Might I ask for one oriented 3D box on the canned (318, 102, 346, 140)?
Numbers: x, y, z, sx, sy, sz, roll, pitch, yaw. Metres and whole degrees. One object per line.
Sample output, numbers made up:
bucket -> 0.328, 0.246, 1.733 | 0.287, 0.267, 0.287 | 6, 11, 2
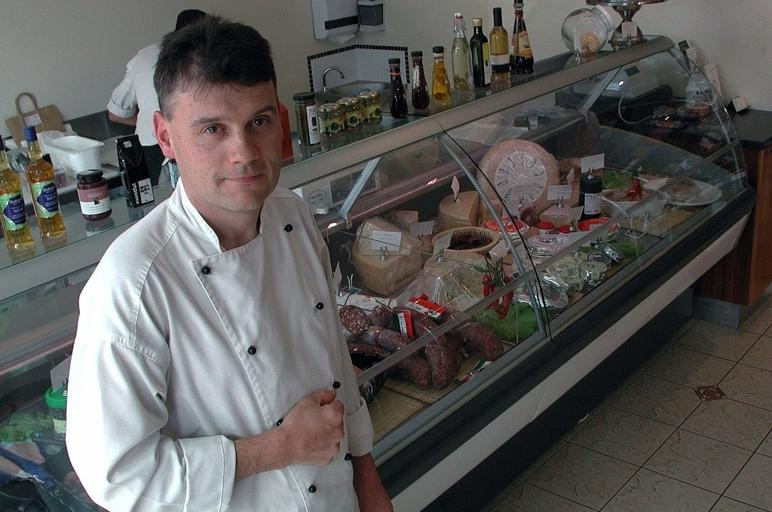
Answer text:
canned -> -0.238, -0.576, 2.179 | 0.118, 0.117, 0.115 | 2, 28, 12

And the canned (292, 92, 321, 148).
canned -> -0.316, -0.561, 2.116 | 0.120, 0.197, 0.115 | -3, 19, 8

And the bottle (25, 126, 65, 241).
bottle -> -1.093, -0.219, 1.616 | 0.088, 0.357, 0.138 | -16, 29, -33

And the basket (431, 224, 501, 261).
basket -> 0.319, -0.110, 2.275 | 0.343, 0.127, 0.264 | -15, 22, -31

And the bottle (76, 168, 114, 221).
bottle -> -0.970, -0.205, 1.732 | 0.105, 0.169, 0.088 | 17, 30, 33

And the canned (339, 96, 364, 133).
canned -> -0.131, -0.625, 2.238 | 0.131, 0.137, 0.130 | 17, 33, 28

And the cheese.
cheese -> 0.234, -0.168, 2.267 | 1.117, 0.699, 0.594 | -5, 27, -7

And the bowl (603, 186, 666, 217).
bowl -> 1.331, -0.301, 2.756 | 0.264, 0.084, 0.169 | -13, 27, -22
